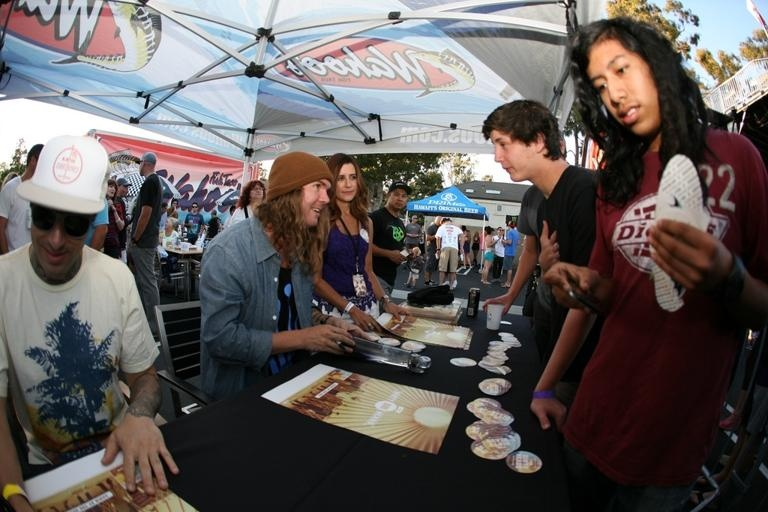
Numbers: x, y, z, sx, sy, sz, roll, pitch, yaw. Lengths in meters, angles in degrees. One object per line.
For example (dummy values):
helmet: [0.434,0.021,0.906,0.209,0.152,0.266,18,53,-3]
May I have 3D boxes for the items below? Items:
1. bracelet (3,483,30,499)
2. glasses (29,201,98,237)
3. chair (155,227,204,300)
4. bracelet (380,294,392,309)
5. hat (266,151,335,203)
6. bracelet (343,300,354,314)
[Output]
bracelet: [-1.198,0.761,1.274,0.062,0.032,0.038,-3,-1,20]
glasses: [-1.344,-0.125,1.618,0.223,0.072,0.223,11,-16,-23]
chair: [-3.853,0.179,7.310,0.833,1.093,1.338,-1,11,-25]
bracelet: [0.022,0.365,3.193,0.115,0.073,0.110,-33,-1,-27]
hat: [-0.574,-0.513,2.559,0.413,0.306,0.395,0,7,2]
bracelet: [-0.257,0.372,2.856,0.075,0.075,0.066,-39,18,-5]
